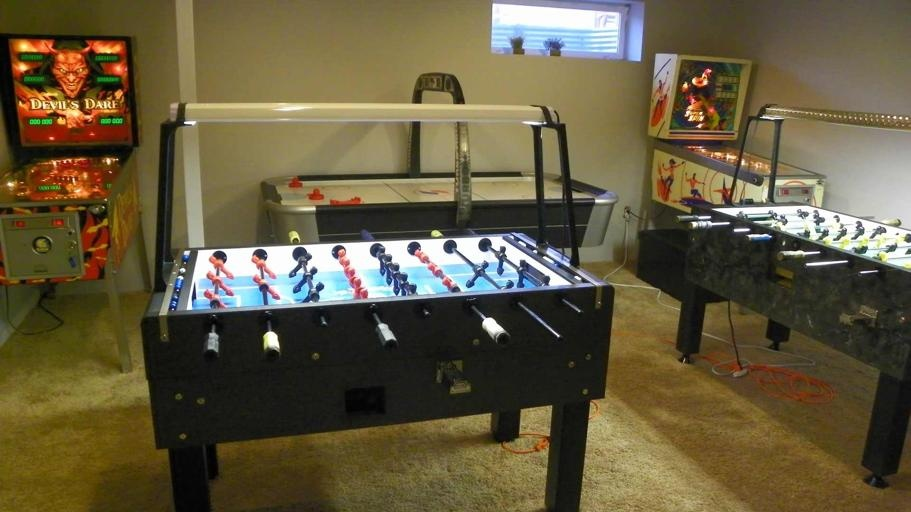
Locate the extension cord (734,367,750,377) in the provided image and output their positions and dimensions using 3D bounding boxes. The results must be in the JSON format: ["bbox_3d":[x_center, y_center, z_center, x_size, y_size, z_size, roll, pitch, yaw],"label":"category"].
[{"bbox_3d":[2.362,0.958,5.321,0.098,0.017,0.090,-9,10,-3],"label":"extension cord"}]

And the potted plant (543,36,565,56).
[{"bbox_3d":[1.024,-2.198,6.763,0.255,0.222,0.205,-5,29,-5],"label":"potted plant"}]
